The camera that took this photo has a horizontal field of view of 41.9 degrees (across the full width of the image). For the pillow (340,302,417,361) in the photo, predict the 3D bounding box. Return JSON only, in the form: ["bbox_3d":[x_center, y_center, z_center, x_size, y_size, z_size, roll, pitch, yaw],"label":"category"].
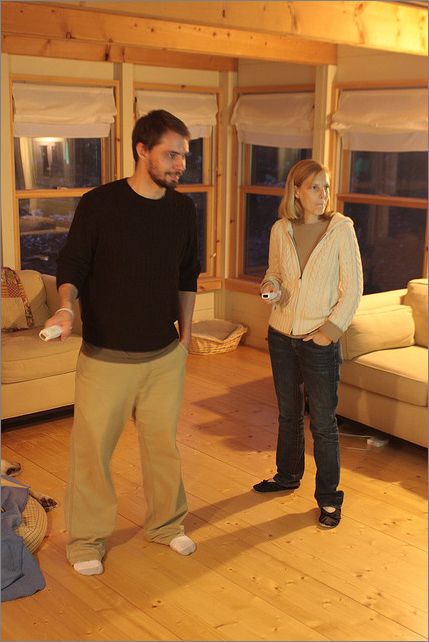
[{"bbox_3d":[1.092,0.064,3.708,0.562,0.281,0.165,-9,14,-25],"label":"pillow"}]

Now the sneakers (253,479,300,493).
[{"bbox_3d":[0.312,0.841,2.881,0.241,0.056,0.080,3,3,-3],"label":"sneakers"}]

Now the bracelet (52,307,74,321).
[{"bbox_3d":[-0.465,-0.024,1.733,0.091,0.032,0.083,-2,11,-19],"label":"bracelet"}]

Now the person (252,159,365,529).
[{"bbox_3d":[0.415,0.103,2.549,0.418,1.624,0.492,2,7,4],"label":"person"}]
